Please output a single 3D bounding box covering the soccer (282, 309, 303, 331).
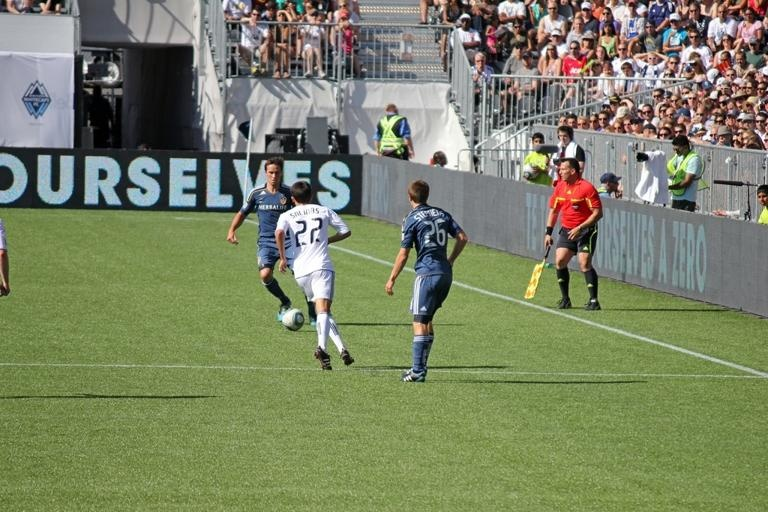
[{"bbox_3d":[-1.603,1.133,26.088,0.349,0.350,0.357,-22,15,-1],"label":"soccer"}]

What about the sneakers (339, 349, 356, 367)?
[{"bbox_3d":[-0.564,1.625,23.270,0.141,0.320,0.150,-5,22,6],"label":"sneakers"}]

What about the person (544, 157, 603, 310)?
[{"bbox_3d":[3.574,-0.425,27.872,1.034,2.884,1.150,2,14,7],"label":"person"}]

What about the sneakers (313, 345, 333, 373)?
[{"bbox_3d":[-0.946,1.665,23.527,0.222,0.483,0.170,-20,31,1],"label":"sneakers"}]

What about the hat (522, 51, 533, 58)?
[{"bbox_3d":[3.922,-5.458,40.590,0.144,0.176,0.300,19,17,34],"label":"hat"}]

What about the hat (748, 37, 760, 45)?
[{"bbox_3d":[8.940,-5.163,35.957,0.313,0.168,0.499,2,3,14],"label":"hat"}]

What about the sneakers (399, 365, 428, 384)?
[{"bbox_3d":[0.476,1.902,23.250,0.173,0.225,0.474,-4,5,-39],"label":"sneakers"}]

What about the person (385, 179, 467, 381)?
[{"bbox_3d":[0.680,0.450,23.304,0.965,3.060,1.066,5,14,19],"label":"person"}]

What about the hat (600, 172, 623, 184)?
[{"bbox_3d":[4.623,-1.541,30.386,0.347,0.245,0.377,1,14,3],"label":"hat"}]

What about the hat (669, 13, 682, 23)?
[{"bbox_3d":[7.582,-6.213,38.732,0.348,0.264,0.584,-5,-2,15],"label":"hat"}]

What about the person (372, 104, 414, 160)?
[{"bbox_3d":[0.292,-3.108,37.891,0.877,1.485,1.126,1,14,1],"label":"person"}]
